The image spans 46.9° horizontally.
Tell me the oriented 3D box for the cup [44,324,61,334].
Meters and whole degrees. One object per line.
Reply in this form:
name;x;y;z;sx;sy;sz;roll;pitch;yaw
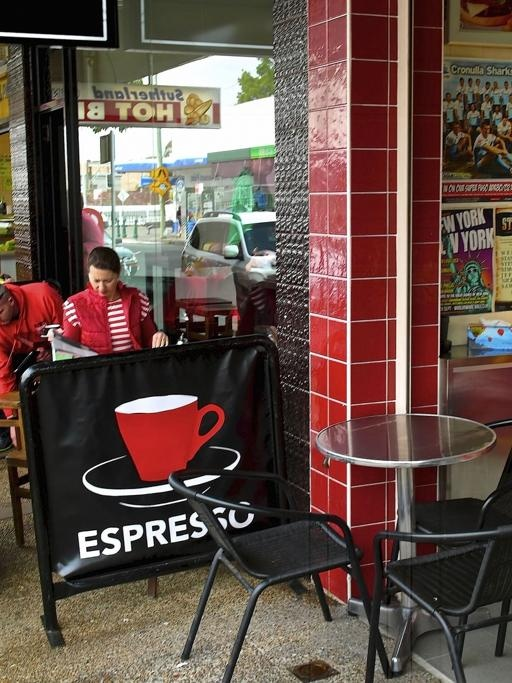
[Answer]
cup;-1.181;-0.072;3.426;0.079;0.029;0.065;-1;3;5
